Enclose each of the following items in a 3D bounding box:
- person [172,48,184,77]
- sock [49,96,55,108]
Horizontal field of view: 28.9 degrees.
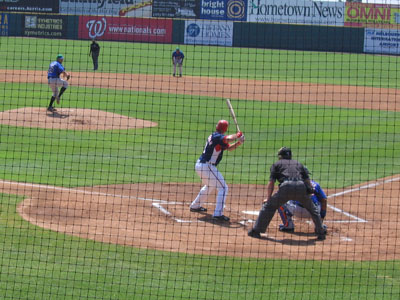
[{"bbox_3d":[-1.113,-4.235,37.813,0.531,1.463,1.332,3,10,-3],"label":"person"},{"bbox_3d":[-5.669,-1.803,29.657,0.118,0.506,0.146,41,25,28],"label":"sock"}]
